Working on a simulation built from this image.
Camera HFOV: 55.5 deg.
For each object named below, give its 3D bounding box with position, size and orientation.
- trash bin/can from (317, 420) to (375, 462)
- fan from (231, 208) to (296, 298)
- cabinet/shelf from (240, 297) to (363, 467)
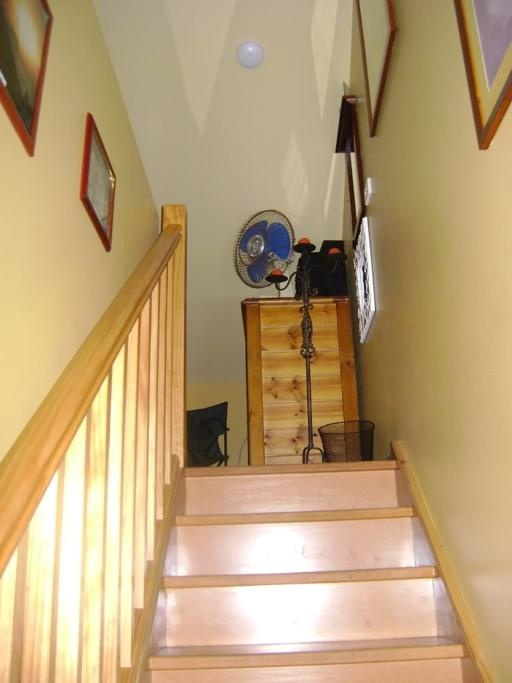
[{"bbox_3d":[0.530,0.573,2.854,0.267,0.257,0.277,-1,-12,11],"label":"trash bin/can"},{"bbox_3d":[0.095,-0.637,3.459,0.120,0.495,0.500,-3,-45,-49],"label":"fan"},{"bbox_3d":[0.293,0.315,3.913,0.905,2.078,1.033,0,-5,1],"label":"cabinet/shelf"}]
